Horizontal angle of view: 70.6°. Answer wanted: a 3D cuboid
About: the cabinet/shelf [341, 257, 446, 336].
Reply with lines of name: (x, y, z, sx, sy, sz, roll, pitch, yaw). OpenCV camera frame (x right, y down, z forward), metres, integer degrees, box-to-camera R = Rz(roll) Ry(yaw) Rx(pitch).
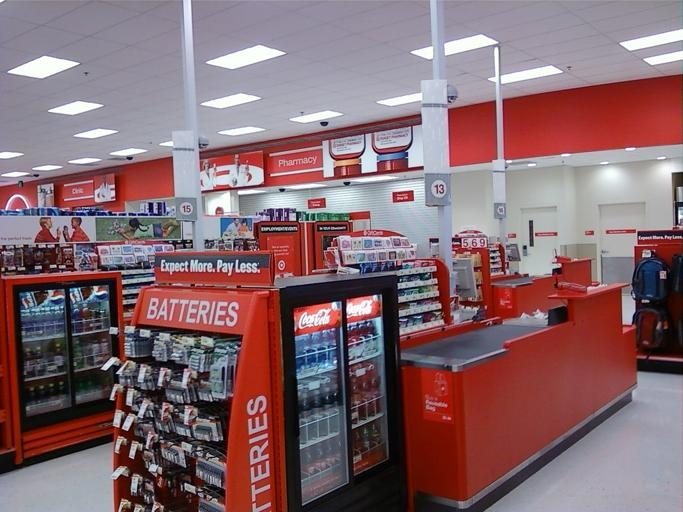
cabinet/shelf: (0.487, 0.479, 5.630, 1.373, 0.892, 0.602, -4, 2, -20)

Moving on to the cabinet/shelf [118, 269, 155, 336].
cabinet/shelf: (-2.850, 0.514, 6.684, 0.384, 0.644, 0.760, -4, 5, 2)
